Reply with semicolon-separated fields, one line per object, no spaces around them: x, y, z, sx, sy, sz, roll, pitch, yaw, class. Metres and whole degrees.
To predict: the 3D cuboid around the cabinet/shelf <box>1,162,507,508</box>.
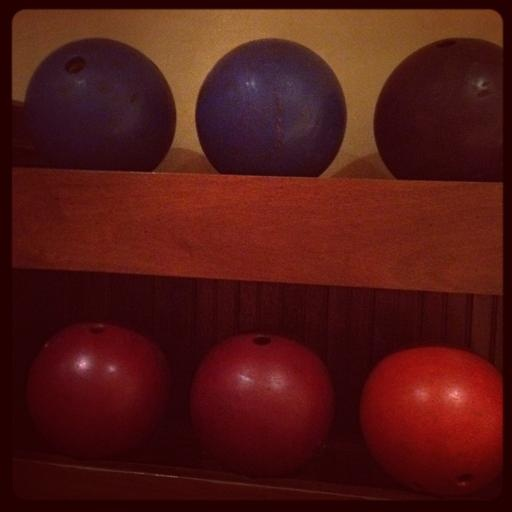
-0.010;0.156;1.110;1.126;0.657;0.363;3;6;7;cabinet/shelf
